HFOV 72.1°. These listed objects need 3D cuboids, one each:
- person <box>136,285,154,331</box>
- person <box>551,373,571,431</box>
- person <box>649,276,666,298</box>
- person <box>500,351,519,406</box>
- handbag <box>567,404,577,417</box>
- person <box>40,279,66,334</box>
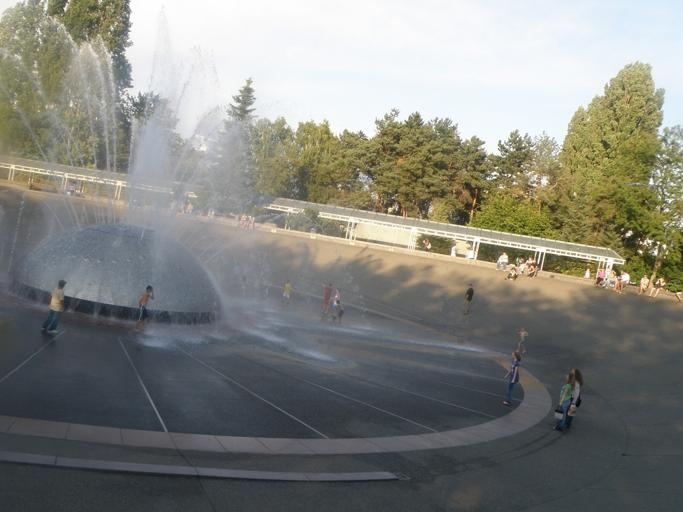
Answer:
[{"bbox_3d":[-7.052,1.779,16.839,0.473,1.485,1.324,6,7,-23],"label":"person"},{"bbox_3d":[6.300,4.103,13.181,0.371,1.395,0.618,13,8,29],"label":"person"},{"bbox_3d":[28.526,2.870,42.390,0.796,1.670,0.660,-1,-4,-23],"label":"person"},{"bbox_3d":[5.675,3.869,15.515,0.395,1.356,1.978,12,7,22],"label":"person"},{"bbox_3d":[6.402,4.297,13.034,0.152,0.322,0.293,15,9,41],"label":"handbag"},{"bbox_3d":[-8.866,1.601,14.437,0.505,1.397,1.111,5,8,-32],"label":"person"}]
